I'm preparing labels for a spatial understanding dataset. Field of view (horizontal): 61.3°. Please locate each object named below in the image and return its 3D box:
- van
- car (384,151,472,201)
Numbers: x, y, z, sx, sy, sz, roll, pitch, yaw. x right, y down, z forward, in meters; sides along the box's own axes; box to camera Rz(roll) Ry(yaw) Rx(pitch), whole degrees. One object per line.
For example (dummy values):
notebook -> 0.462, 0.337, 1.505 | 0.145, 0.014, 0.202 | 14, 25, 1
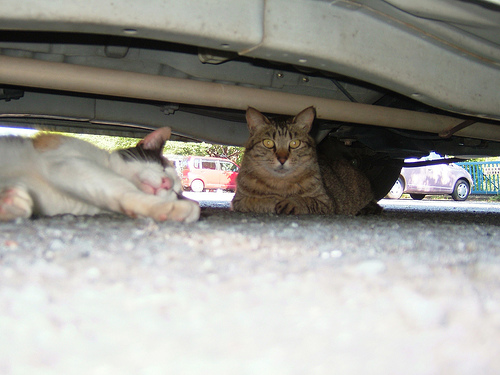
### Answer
van -> -1.332, -0.429, 13.122 | 1.451, 1.004, 2.651 | 8, 6, 39
car -> 4.198, -0.358, 10.900 | 3.347, 1.286, 1.412 | 0, 3, -24
